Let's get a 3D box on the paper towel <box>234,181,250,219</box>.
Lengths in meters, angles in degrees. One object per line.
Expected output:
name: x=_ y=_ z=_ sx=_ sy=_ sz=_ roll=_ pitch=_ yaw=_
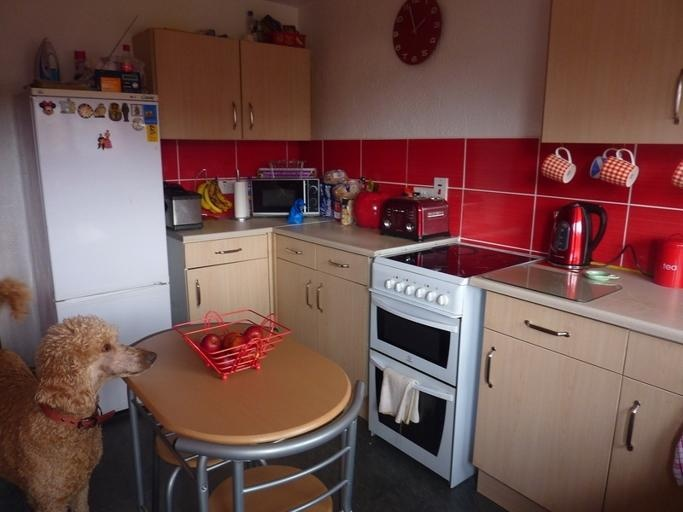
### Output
paper towel: x=-0.767 y=-0.430 z=3.812 sx=0.125 sy=0.291 sz=0.126 roll=-5 pitch=12 yaw=-15

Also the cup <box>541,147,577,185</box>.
cup: x=1.139 y=-0.477 z=2.598 sx=0.156 sy=0.197 sz=0.164 roll=-1 pitch=12 yaw=0

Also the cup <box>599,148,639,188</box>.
cup: x=1.340 y=-0.424 z=2.392 sx=0.161 sy=0.192 sz=0.161 roll=-1 pitch=12 yaw=0

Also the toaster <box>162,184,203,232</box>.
toaster: x=-1.100 y=-0.377 z=3.452 sx=0.219 sy=0.295 sz=0.415 roll=-9 pitch=17 yaw=-30

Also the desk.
desk: x=-0.360 y=0.496 z=1.807 sx=0.521 sy=0.655 sz=0.664 roll=-6 pitch=17 yaw=-32

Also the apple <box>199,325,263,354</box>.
apple: x=-0.427 y=0.328 z=1.950 sx=0.232 sy=0.106 sz=0.106 roll=-11 pitch=1 yaw=-14

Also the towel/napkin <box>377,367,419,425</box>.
towel/napkin: x=0.314 y=0.758 z=2.687 sx=0.117 sy=0.299 sz=0.280 roll=-9 pitch=15 yaw=-29

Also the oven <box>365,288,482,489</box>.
oven: x=0.482 y=0.615 z=2.811 sx=0.651 sy=1.036 sz=0.485 roll=13 pitch=18 yaw=41

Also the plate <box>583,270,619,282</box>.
plate: x=1.248 y=0.096 z=2.385 sx=0.153 sy=0.028 sz=0.132 roll=6 pitch=14 yaw=30

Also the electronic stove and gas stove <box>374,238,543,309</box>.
electronic stove and gas stove: x=0.505 y=-0.036 z=3.183 sx=1.042 sy=0.260 sz=1.365 roll=12 pitch=17 yaw=43

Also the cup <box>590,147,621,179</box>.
cup: x=1.329 y=-0.461 z=2.509 sx=0.078 sy=0.153 sz=0.135 roll=9 pitch=3 yaw=-13

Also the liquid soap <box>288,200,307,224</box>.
liquid soap: x=-0.339 y=-0.337 z=3.724 sx=0.124 sy=0.162 sz=0.242 roll=-2 pitch=12 yaw=-2

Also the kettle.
kettle: x=1.176 y=-0.106 z=2.489 sx=0.235 sy=0.336 sz=0.136 roll=4 pitch=13 yaw=22
